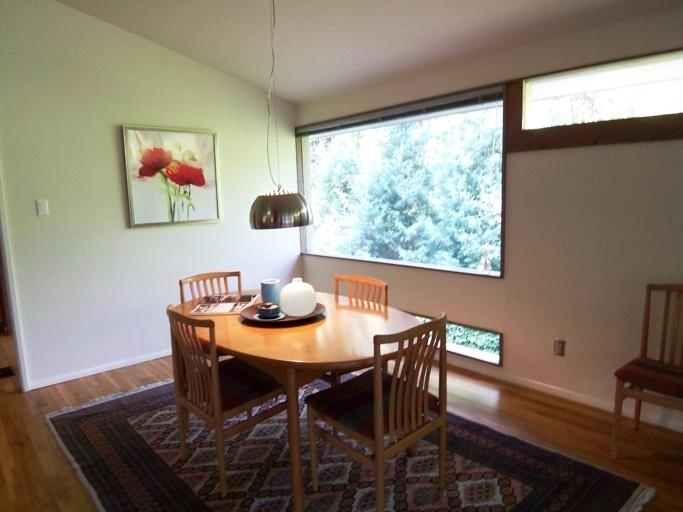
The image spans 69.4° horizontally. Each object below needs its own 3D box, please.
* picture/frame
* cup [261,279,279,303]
[{"bbox_3d":[-1.737,-0.813,4.915,0.975,1.132,0.077,-9,15,-33],"label":"picture/frame"},{"bbox_3d":[-0.526,0.260,3.716,0.155,0.170,0.153,1,3,0],"label":"cup"}]
